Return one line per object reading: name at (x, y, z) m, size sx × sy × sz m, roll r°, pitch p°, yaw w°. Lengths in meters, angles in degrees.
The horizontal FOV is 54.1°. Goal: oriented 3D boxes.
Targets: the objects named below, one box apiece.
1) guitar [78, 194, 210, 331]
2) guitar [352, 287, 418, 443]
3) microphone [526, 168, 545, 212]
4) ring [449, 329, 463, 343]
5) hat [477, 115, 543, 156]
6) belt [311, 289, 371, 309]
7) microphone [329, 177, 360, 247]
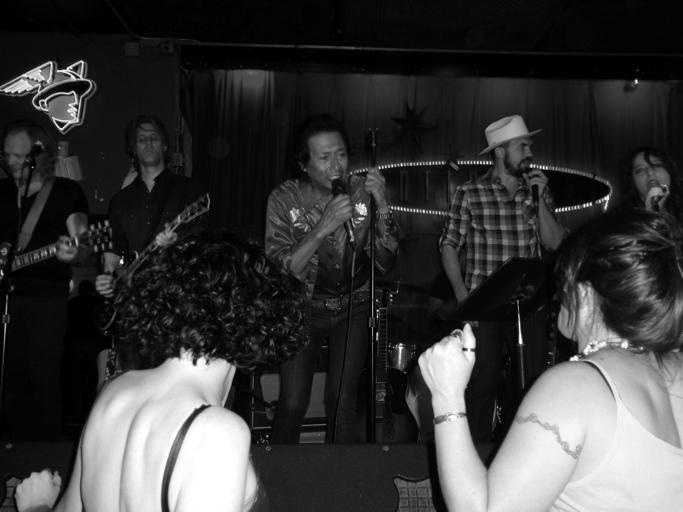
guitar at (-1.548, -0.045, 4.660) m, size 0.360 × 0.976 × 0.116 m, roll -28°, pitch -23°, yaw -7°
guitar at (0.308, 0.747, 4.402) m, size 0.384 × 1.033 × 0.162 m, roll 0°, pitch -9°, yaw -4°
microphone at (1.259, -0.439, 4.364) m, size 0.054 × 0.257 × 0.126 m, roll 2°, pitch -3°, yaw 12°
ring at (0.381, 0.266, 2.235) m, size 0.034 × 0.032 × 0.029 m, roll 22°, pitch -26°, yaw -18°
hat at (1.185, -0.811, 4.758) m, size 0.365 × 0.152 × 0.329 m, roll -23°, pitch -2°, yaw 37°
belt at (-0.009, 0.245, 3.804) m, size 0.320 × 0.129 × 0.067 m, roll 2°, pitch -7°, yaw 5°
microphone at (0.020, -0.272, 3.704) m, size 0.089 × 0.497 × 0.098 m, roll -5°, pitch -14°, yaw -1°
